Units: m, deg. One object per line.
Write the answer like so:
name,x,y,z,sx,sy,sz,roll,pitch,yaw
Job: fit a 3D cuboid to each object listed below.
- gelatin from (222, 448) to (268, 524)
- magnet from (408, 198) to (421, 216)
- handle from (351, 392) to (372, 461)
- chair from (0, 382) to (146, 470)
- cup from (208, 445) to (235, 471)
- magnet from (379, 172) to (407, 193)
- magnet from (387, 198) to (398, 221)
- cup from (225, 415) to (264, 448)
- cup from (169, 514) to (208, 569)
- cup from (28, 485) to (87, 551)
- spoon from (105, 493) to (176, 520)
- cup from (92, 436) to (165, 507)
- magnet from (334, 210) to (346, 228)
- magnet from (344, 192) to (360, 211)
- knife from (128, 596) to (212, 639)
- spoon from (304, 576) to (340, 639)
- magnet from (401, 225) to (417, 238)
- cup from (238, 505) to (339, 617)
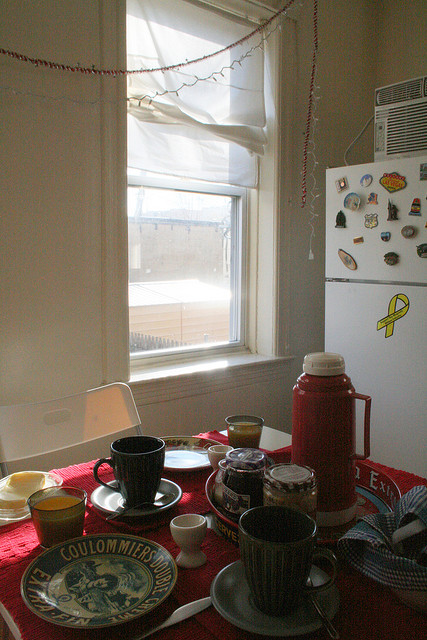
gelatin,0.035,0.209,0.622,0.068,0.114,0.068,2,3,1
magnet,0.726,-0.411,1.773,0.051,0.071,0.009,21,20,40
handle,0.194,0.143,0.654,0.016,0.096,0.030,-14,16,-37
chair,-0.369,0.258,1.220,0.284,0.256,0.124,-8,13,-41
cup,0.016,0.234,0.870,0.049,0.045,0.055,1,-6,10
magnet,0.671,-0.515,1.831,0.011,0.069,0.077,-3,24,-33
magnet,0.671,-0.410,1.849,0.011,0.069,0.043,-6,8,-27
cup,0.064,0.207,0.942,0.057,0.052,0.067,0,-1,0
cup,-0.029,0.271,0.603,0.045,0.054,0.046,-4,3,0
cup,-0.205,0.262,0.643,0.071,0.067,0.071,-2,8,0
spoon,-0.107,0.275,0.721,0.023,0.017,0.114,8,14,40
cup,-0.126,0.231,0.736,0.097,0.090,0.077,-2,4,-15
magnet,0.525,-0.421,2.040,0.012,0.093,0.066,-3,8,-32
magnet,0.559,-0.480,1.989,0.018,0.062,0.060,-2,24,-44
knife,-0.045,0.297,0.487,0.105,0.005,0.012,-9,18,-41
spoon,0.102,0.275,0.465,0.014,0.003,0.043,5,33,-31
magnet,0.707,-0.323,1.791,0.012,0.041,0.039,-5,-2,-42
cup,0.068,0.242,0.481,0.078,0.099,0.067,-6,8,-27
